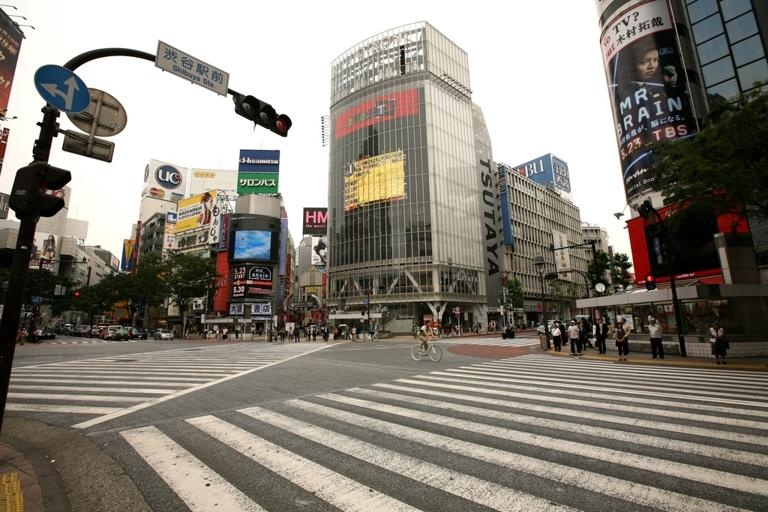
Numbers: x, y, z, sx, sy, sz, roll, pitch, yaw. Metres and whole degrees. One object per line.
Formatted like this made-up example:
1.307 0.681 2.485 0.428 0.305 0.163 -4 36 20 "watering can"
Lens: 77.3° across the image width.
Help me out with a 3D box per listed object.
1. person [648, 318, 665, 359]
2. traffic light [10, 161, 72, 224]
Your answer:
13.591 4.089 23.920 0.566 1.768 1.505 3 10 24 "person"
-9.053 -1.738 12.612 1.305 1.404 0.762 -3 9 -12 "traffic light"
